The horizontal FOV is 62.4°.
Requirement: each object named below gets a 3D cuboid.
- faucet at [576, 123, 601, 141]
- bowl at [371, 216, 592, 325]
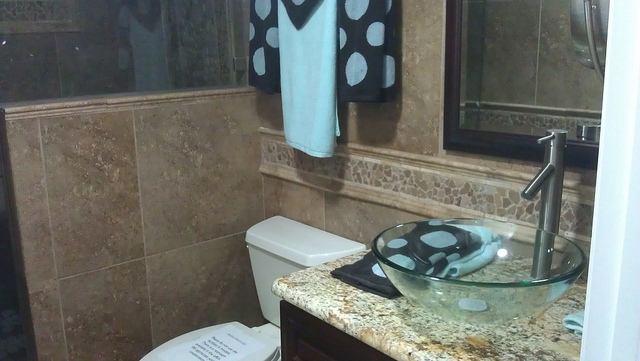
[{"bbox_3d":[0.904,-0.164,1.787,0.064,0.067,0.089,-7,13,-40],"label":"faucet"},{"bbox_3d":[0.493,0.288,1.707,0.644,0.205,0.367,0,19,5],"label":"bowl"}]
